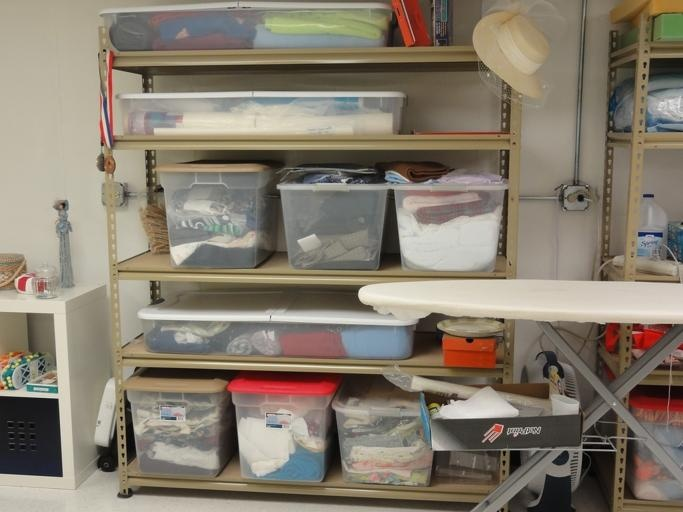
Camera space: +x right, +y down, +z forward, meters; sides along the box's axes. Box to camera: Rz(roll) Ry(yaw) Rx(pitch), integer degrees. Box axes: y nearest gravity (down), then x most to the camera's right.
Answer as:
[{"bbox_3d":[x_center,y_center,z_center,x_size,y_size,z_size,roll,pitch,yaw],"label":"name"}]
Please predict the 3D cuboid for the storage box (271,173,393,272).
[{"bbox_3d":[-0.024,-0.166,2.823,0.516,0.334,0.432,0,13,4],"label":"storage box"}]

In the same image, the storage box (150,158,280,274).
[{"bbox_3d":[-0.593,-0.188,3.031,0.698,0.459,0.479,-1,2,8],"label":"storage box"}]

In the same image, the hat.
[{"bbox_3d":[0.654,-0.872,2.682,0.368,0.351,0.118,3,-34,-38],"label":"hat"}]

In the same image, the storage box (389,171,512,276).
[{"bbox_3d":[0.476,-0.140,2.717,0.529,0.345,0.414,-2,9,4],"label":"storage box"}]

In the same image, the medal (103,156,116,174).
[{"bbox_3d":[-1.090,-0.430,2.876,0.034,0.081,0.046,-9,10,-36],"label":"medal"}]

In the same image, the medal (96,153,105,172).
[{"bbox_3d":[-1.160,-0.457,2.955,0.034,0.081,0.201,-6,8,-22],"label":"medal"}]

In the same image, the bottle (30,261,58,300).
[{"bbox_3d":[-1.535,0.132,3.165,0.143,0.181,0.138,-2,-1,0],"label":"bottle"}]

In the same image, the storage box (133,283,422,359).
[{"bbox_3d":[-0.286,0.338,2.974,1.089,0.165,0.494,1,9,3],"label":"storage box"}]

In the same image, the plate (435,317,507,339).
[{"bbox_3d":[0.621,0.332,2.916,0.303,0.057,0.291,0,8,20],"label":"plate"}]
